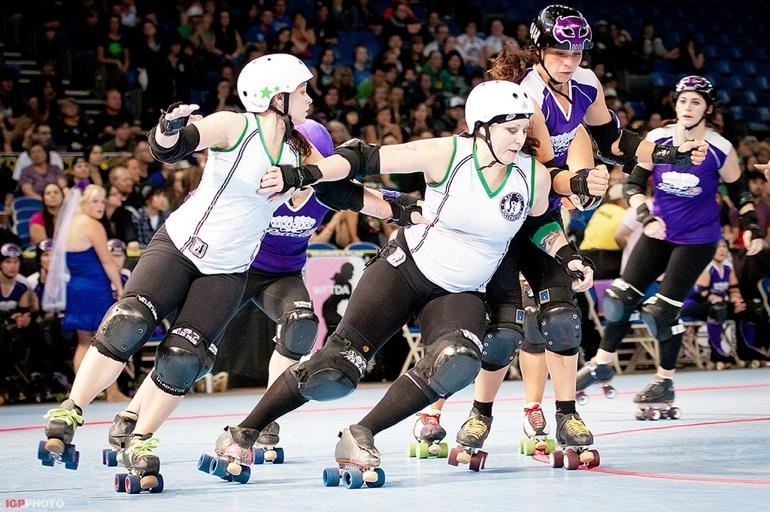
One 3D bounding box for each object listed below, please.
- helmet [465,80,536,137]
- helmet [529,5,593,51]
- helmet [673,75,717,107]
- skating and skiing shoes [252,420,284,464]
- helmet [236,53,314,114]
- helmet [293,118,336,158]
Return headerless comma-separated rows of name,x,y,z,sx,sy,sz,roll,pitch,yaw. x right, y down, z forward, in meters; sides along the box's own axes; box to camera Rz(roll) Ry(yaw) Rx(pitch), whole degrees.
helmet,0.806,-1.136,6.304,0.468,0.378,0.354,-32,-4,30
helmet,1.410,-1.876,6.985,0.346,0.365,0.471,2,3,-22
helmet,3.191,-1.725,8.663,0.403,0.227,0.311,21,11,3
skating and skiing shoes,-0.928,1.524,6.864,0.169,0.267,0.443,0,0,-6
helmet,-0.806,-1.271,6.337,0.510,0.372,0.385,6,-2,-2
helmet,-0.599,-1.011,7.196,0.300,0.305,0.548,3,5,-7
